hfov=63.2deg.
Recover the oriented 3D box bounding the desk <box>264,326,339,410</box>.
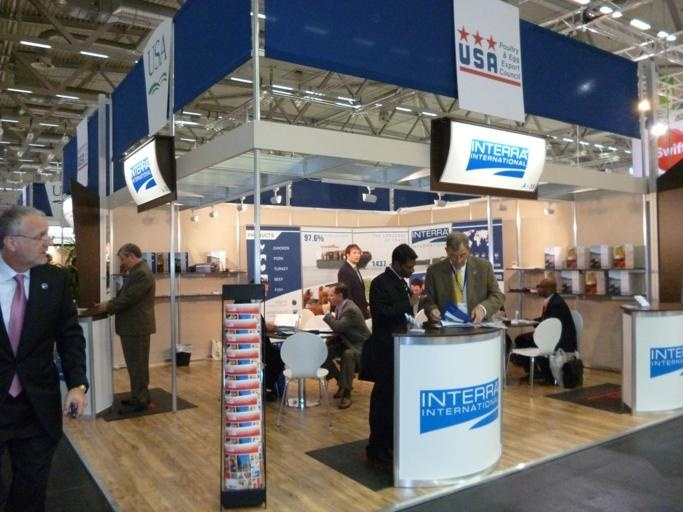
[{"bbox_3d":[-0.458,1.338,6.648,0.533,1.025,0.596,0,5,-9],"label":"desk"}]

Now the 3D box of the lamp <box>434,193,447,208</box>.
[{"bbox_3d":[1.905,-1.097,10.741,0.251,0.290,1.328,-1,3,10],"label":"lamp"}]

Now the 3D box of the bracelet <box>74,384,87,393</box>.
[{"bbox_3d":[-1.676,0.845,3.563,0.058,0.030,0.061,6,-2,-29],"label":"bracelet"}]

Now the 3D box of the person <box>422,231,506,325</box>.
[{"bbox_3d":[1.219,0.217,5.470,0.788,0.912,0.779,-1,3,9],"label":"person"}]

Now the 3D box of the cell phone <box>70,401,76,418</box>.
[{"bbox_3d":[-1.686,0.967,3.490,0.052,0.080,0.025,0,2,-22],"label":"cell phone"}]

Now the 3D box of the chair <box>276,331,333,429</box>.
[{"bbox_3d":[-0.463,1.423,6.661,0.569,1.095,0.623,0,3,-8],"label":"chair"}]

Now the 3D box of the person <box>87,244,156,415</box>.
[{"bbox_3d":[-2.622,0.891,6.879,0.608,2.079,0.488,-1,3,-9],"label":"person"}]

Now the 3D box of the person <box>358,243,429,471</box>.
[{"bbox_3d":[0.480,0.924,5.272,0.505,2.054,0.609,-1,3,-10],"label":"person"}]

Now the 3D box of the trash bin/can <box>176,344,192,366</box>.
[{"bbox_3d":[-2.766,1.729,9.693,0.289,0.356,0.288,-8,-9,41],"label":"trash bin/can"}]

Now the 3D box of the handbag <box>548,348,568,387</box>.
[{"bbox_3d":[3.085,1.519,7.747,0.180,0.479,0.348,-14,3,6],"label":"handbag"}]

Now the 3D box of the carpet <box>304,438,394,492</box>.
[{"bbox_3d":[0.125,1.956,5.230,0.620,0.052,1.040,-2,3,-26],"label":"carpet"}]

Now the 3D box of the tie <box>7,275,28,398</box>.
[{"bbox_3d":[-2.023,0.494,3.458,0.094,0.680,0.036,6,-19,-39],"label":"tie"}]

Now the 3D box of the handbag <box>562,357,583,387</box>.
[{"bbox_3d":[3.307,1.647,7.803,0.420,0.421,0.200,5,-8,-27],"label":"handbag"}]

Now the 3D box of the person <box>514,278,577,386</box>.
[{"bbox_3d":[2.943,1.092,8.071,0.817,1.529,0.583,-2,4,25],"label":"person"}]

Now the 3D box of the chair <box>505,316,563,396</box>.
[{"bbox_3d":[2.657,1.306,7.452,0.521,1.015,0.768,0,3,27],"label":"chair"}]

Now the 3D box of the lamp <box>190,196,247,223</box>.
[{"bbox_3d":[-2.282,-0.861,10.089,0.664,0.141,0.200,-25,20,-2],"label":"lamp"}]
